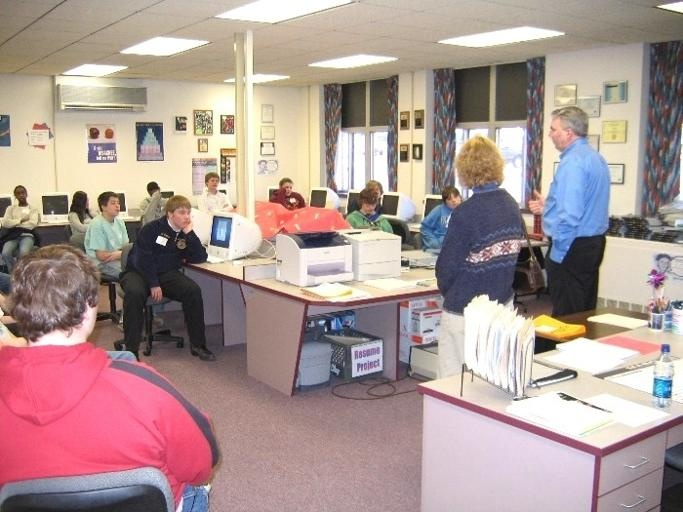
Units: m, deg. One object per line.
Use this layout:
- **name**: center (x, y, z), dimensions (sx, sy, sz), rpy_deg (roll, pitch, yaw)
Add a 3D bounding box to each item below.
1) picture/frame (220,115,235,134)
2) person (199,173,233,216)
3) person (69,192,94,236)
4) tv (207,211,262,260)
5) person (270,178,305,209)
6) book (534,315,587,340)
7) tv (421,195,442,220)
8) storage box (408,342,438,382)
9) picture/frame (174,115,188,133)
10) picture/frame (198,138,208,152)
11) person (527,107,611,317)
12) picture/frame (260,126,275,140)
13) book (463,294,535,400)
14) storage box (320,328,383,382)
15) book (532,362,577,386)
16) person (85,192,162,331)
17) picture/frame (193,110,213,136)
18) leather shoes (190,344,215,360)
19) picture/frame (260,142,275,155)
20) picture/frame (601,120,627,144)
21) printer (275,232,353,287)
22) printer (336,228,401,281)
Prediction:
- **picture/frame**: center (-2.234, -2.545, 10.793), dimensions (0.361, 0.428, 0.046), rpy_deg (-5, 9, -37)
- **person**: center (-2.124, -0.959, 9.220), dimensions (0.605, 0.862, 0.541), rpy_deg (2, -1, -32)
- **person**: center (-3.899, -0.723, 8.414), dimensions (0.254, 0.709, 0.231), rpy_deg (-19, 56, -28)
- **tv**: center (-1.055, -0.194, 5.593), dimensions (0.467, 0.461, 0.516), rpy_deg (-2, 5, -33)
- **person**: center (-0.940, -1.087, 9.704), dimensions (0.567, 0.485, 1.194), rpy_deg (-5, 12, -17)
- **book**: center (1.264, 0.421, 3.233), dimensions (0.215, 0.077, 0.213), rpy_deg (-11, 14, -33)
- **tv**: center (1.361, -0.725, 8.330), dimensions (0.087, 0.310, 0.336), rpy_deg (8, 0, -30)
- **storage box**: center (0.695, 0.889, 4.698), dimensions (0.269, 0.204, 0.267), rpy_deg (-1, 1, -34)
- **picture/frame**: center (-3.016, -2.459, 10.357), dimensions (0.306, 0.364, 0.049), rpy_deg (-6, 16, -40)
- **picture/frame**: center (-2.666, -2.114, 10.631), dimensions (0.260, 0.307, 0.038), rpy_deg (-4, 7, -39)
- **person**: center (1.544, -0.274, 3.792), dimensions (0.499, 1.445, 0.467), rpy_deg (4, 12, 25)
- **picture/frame**: center (-1.520, -2.494, 11.264), dimensions (0.018, 0.214, 0.285), rpy_deg (9, 13, 40)
- **book**: center (0.655, 0.401, 2.344), dimensions (0.190, 0.420, 0.359), rpy_deg (-5, 9, -37)
- **storage box**: center (0.101, 0.828, 4.753), dimensions (0.408, 0.300, 0.409), rpy_deg (-5, 9, -32)
- **book**: center (0.943, 0.542, 2.520), dimensions (0.106, 0.026, 0.104), rpy_deg (-6, 7, -25)
- **person**: center (-2.529, -0.236, 6.189), dimensions (0.548, 0.908, 0.580), rpy_deg (4, 9, 19)
- **picture/frame**: center (-2.649, -2.530, 10.553), dimensions (0.461, 0.567, 0.036), rpy_deg (-6, 10, -41)
- **leather shoes**: center (-1.332, 0.906, 5.346), dimensions (0.102, 0.126, 0.291), rpy_deg (-4, 8, -43)
- **picture/frame**: center (-1.504, -2.170, 11.331), dimensions (0.364, 0.272, 0.058), rpy_deg (-12, 15, -43)
- **picture/frame**: center (3.370, -1.524, 6.835), dimensions (0.042, 0.287, 0.301), rpy_deg (-4, 7, -38)
- **printer**: center (-0.242, -0.023, 4.579), dimensions (0.467, 0.368, 0.495), rpy_deg (-5, 7, -36)
- **printer**: center (0.253, -0.035, 4.733), dimensions (0.417, 0.322, 0.445), rpy_deg (-3, 7, -27)
